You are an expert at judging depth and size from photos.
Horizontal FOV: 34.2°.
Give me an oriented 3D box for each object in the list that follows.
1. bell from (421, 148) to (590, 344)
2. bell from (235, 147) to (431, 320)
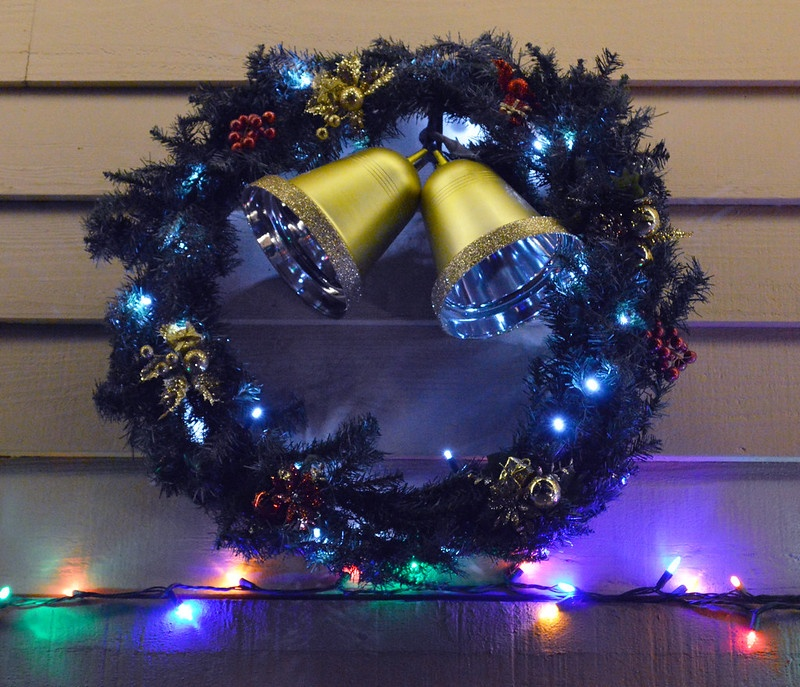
[{"bbox_3d":[0.172,-0.181,2.318,0.263,0.338,0.216,1,-1,-8],"label":"bell"},{"bbox_3d":[-0.109,-0.210,2.385,0.375,0.175,0.217,-33,15,-30],"label":"bell"}]
